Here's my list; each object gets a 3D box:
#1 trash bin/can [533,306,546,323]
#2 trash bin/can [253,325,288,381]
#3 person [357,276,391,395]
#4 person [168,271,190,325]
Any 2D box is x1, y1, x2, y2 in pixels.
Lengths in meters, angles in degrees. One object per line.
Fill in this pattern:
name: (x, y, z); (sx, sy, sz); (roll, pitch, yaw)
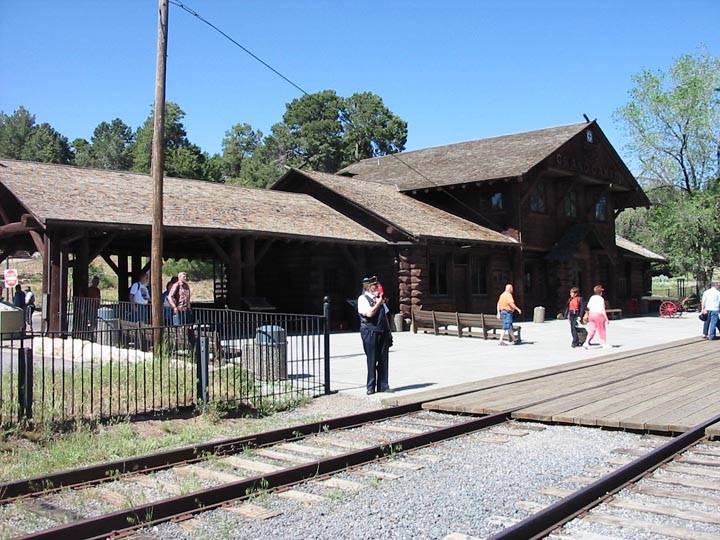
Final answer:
trash bin/can: (8.024, 2.003, 30.252); (0.554, 1.062, 0.620); (-2, -5, 42)
trash bin/can: (-1.803, 1.642, 13.398); (0.639, 1.091, 1.552); (1, -4, -10)
person: (0.280, 1.234, 12.831); (0.606, 2.185, 0.554); (0, -4, 3)
person: (-4.665, 0.730, 17.346); (0.523, 1.299, 1.317); (1, -4, -16)
